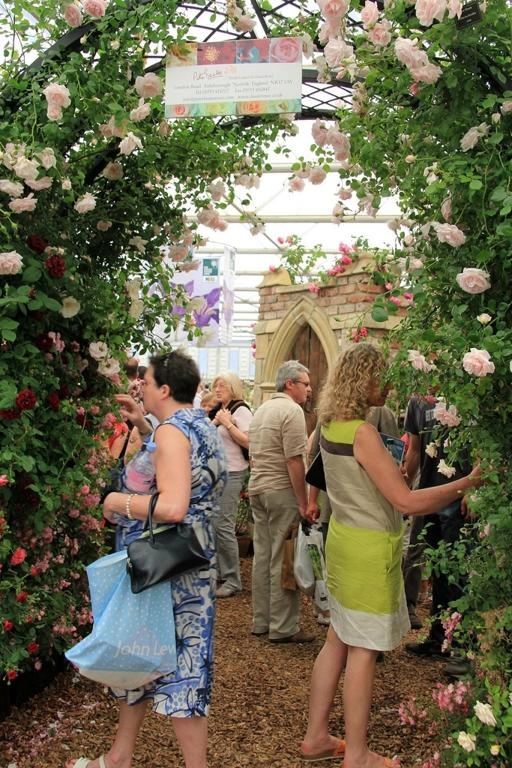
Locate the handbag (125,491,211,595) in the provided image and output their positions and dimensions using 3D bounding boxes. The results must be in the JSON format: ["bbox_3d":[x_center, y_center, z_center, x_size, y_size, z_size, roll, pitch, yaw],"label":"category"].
[{"bbox_3d":[-0.263,0.505,1.774,0.215,0.123,0.164,-5,-3,8],"label":"handbag"}]

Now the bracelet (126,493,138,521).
[{"bbox_3d":[-0.385,0.384,1.872,0.023,0.071,0.057,4,11,3],"label":"bracelet"}]
